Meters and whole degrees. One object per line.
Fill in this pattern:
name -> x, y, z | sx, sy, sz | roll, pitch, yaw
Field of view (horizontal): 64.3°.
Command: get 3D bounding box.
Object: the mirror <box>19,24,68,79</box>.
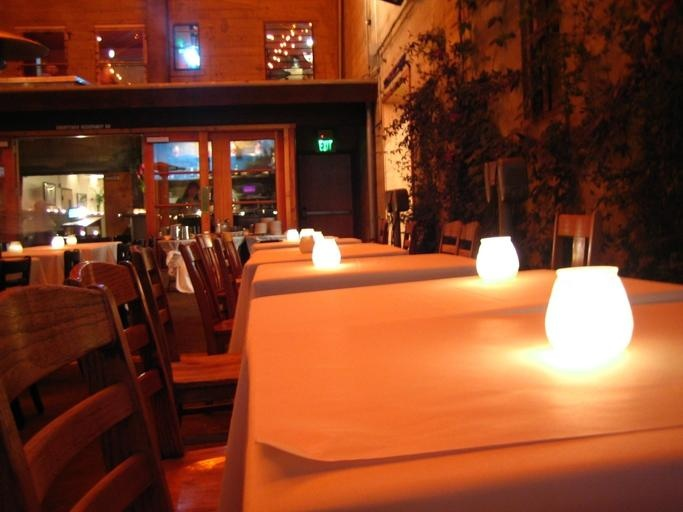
mirror -> -6.056, -4.034, 11.017 | 0.811, 0.866, 2.615 | -5, 7, -29

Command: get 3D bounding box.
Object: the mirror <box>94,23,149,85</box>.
mirror -> -5.168, -4.574, 12.904 | 1.211, 1.294, 0.905 | 1, 15, 0

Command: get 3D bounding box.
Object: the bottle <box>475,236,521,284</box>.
bottle -> 0.527, 0.021, 1.831 | 0.137, 0.149, 0.141 | -2, -4, -21

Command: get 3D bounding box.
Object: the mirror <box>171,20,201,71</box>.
mirror -> -3.023, -4.067, 10.557 | 0.540, 0.079, 1.004 | -12, -36, -23

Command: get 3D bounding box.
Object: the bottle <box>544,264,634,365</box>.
bottle -> 0.435, 0.102, 0.958 | 0.156, 0.169, 0.151 | -1, -6, -18
